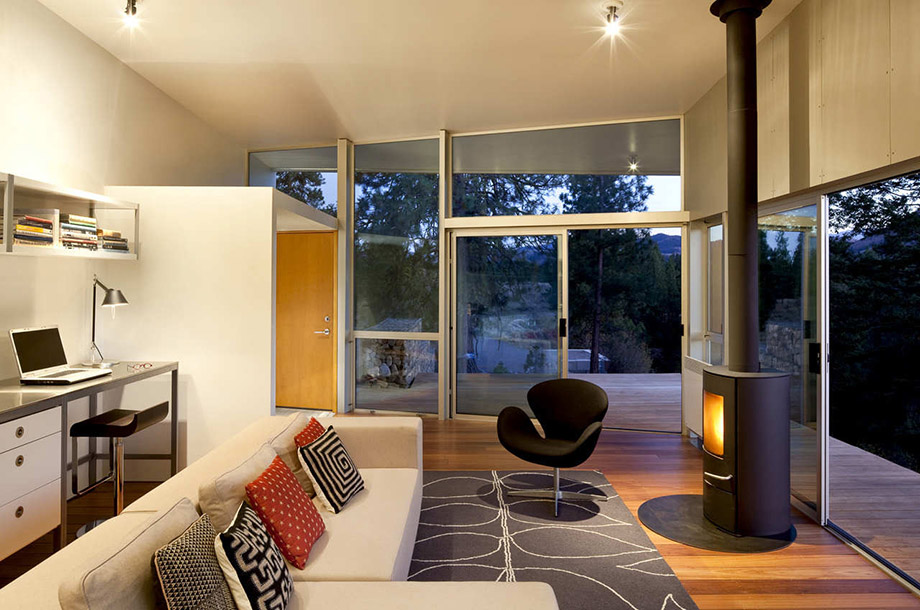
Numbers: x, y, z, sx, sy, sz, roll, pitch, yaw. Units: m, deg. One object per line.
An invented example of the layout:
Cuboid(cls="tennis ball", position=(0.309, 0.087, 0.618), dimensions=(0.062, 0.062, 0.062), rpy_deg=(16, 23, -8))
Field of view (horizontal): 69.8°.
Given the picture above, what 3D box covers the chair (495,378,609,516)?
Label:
Cuboid(cls="chair", position=(0.838, 1.234, 5.849), dimensions=(0.960, 1.034, 1.019), rpy_deg=(-1, 5, -11))
